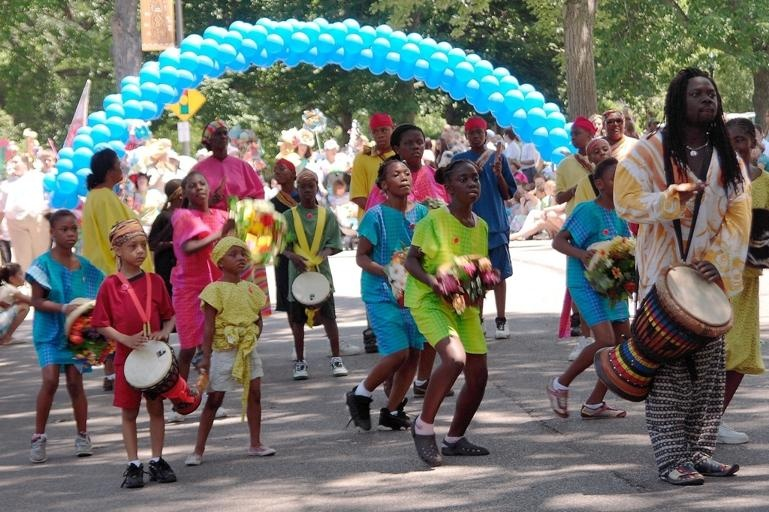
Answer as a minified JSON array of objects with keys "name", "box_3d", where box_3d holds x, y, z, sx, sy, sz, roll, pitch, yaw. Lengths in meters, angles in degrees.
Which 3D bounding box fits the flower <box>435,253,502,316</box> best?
[{"name":"flower","box_3d":[0.677,0.226,7.420,0.561,0.461,0.207,-9,10,-28]}]

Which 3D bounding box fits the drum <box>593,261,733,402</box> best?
[{"name":"drum","box_3d":[2.139,0.646,7.034,0.636,0.862,0.719,38,27,24]}]

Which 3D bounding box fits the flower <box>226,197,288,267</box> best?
[{"name":"flower","box_3d":[-1.319,-0.257,9.567,0.327,0.714,0.684,-4,9,16]}]

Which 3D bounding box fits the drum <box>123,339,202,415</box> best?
[{"name":"drum","box_3d":[-1.848,1.028,7.647,0.383,0.696,0.585,1,11,38]}]

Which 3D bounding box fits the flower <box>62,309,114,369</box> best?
[{"name":"flower","box_3d":[-2.613,0.685,8.179,0.405,0.573,0.222,-7,9,-6]}]

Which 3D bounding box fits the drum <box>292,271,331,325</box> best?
[{"name":"drum","box_3d":[-0.818,0.481,10.449,0.461,0.620,0.382,-7,9,-6]}]
